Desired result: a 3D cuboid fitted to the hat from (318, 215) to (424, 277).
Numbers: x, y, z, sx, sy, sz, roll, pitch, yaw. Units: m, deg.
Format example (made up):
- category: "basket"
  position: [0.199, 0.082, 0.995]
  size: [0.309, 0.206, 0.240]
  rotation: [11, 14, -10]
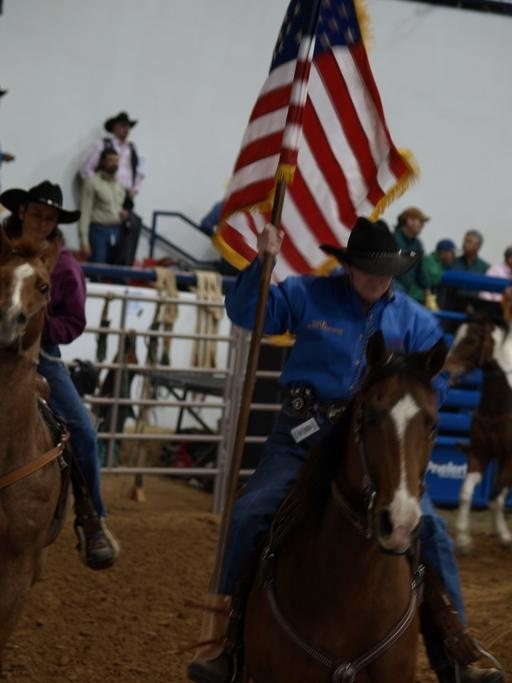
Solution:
- category: "hat"
  position: [0.489, -0.429, 4.082]
  size: [0.281, 0.134, 0.320]
  rotation: [2, 13, -31]
